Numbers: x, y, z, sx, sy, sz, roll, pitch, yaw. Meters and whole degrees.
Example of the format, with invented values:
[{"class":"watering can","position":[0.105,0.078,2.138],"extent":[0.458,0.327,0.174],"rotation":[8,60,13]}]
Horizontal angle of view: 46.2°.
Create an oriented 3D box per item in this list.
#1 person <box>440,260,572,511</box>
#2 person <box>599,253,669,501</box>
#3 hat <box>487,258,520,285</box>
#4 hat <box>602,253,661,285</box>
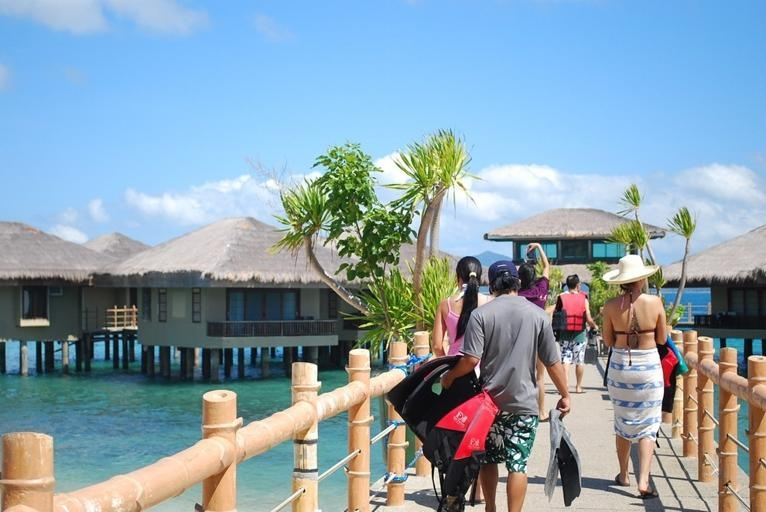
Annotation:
[{"class":"person","position":[1.296,1.512,9.169],"extent":[1.261,2.089,0.444],"rotation":[-1,-1,-1]},{"class":"person","position":[3.052,1.401,10.718],"extent":[0.724,2.654,0.546],"rotation":[-2,-1,20]},{"class":"hat","position":[1.362,0.151,9.500],"extent":[0.311,0.247,0.510],"rotation":[2,2,7]},{"class":"hat","position":[3.059,0.147,10.874],"extent":[0.408,0.178,0.483],"rotation":[-13,8,31]}]
